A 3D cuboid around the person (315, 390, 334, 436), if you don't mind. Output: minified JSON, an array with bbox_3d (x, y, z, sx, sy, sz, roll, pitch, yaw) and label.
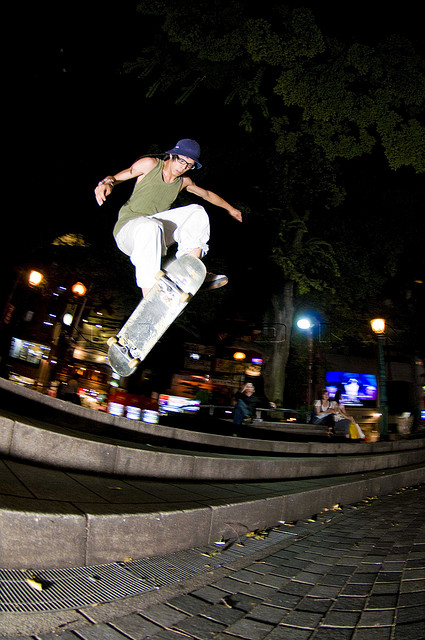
[{"bbox_3d":[2.538,2.098,10.580,0.453,0.970,0.672,6,-16,16],"label":"person"}]

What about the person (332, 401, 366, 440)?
[{"bbox_3d":[3.019,2.247,10.447,0.727,0.770,0.429,6,-16,12],"label":"person"}]

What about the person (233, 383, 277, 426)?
[{"bbox_3d":[0.655,1.708,9.283,0.493,0.777,1.413,9,-14,4],"label":"person"}]

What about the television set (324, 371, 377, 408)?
[{"bbox_3d":[8.226,4.071,27.267,3.914,2.297,0.476,17,-17,-27],"label":"television set"}]

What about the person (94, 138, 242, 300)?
[{"bbox_3d":[-0.370,-0.966,4.792,1.391,1.687,0.907,3,4,-5],"label":"person"}]
